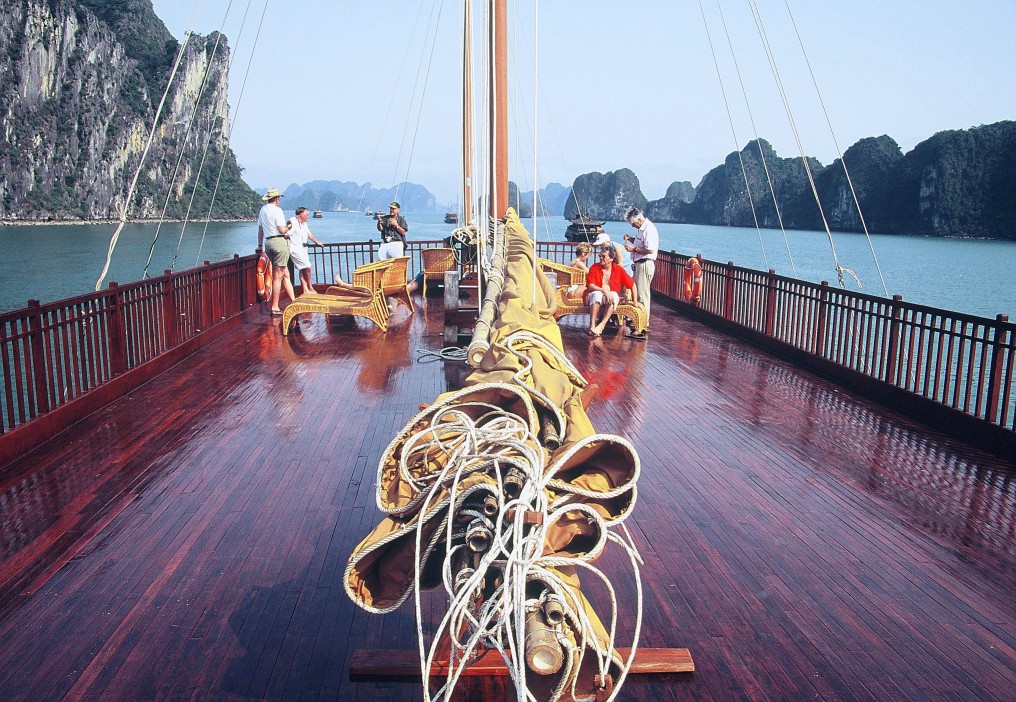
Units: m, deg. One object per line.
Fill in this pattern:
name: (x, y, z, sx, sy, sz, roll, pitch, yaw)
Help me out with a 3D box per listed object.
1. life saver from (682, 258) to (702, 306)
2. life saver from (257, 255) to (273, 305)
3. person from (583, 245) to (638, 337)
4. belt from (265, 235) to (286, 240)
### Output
life saver: (3.135, -1.214, 10.396, 0.260, 0.814, 0.397, 1, 12, 2)
life saver: (-3.902, -1.190, 9.759, 0.207, 0.836, 0.299, -1, -4, -7)
person: (1.446, -0.934, 9.110, 0.567, 1.305, 0.854, 11, 16, 42)
belt: (-3.613, -1.804, 9.585, 0.289, 0.056, 0.092, -12, 18, -43)
